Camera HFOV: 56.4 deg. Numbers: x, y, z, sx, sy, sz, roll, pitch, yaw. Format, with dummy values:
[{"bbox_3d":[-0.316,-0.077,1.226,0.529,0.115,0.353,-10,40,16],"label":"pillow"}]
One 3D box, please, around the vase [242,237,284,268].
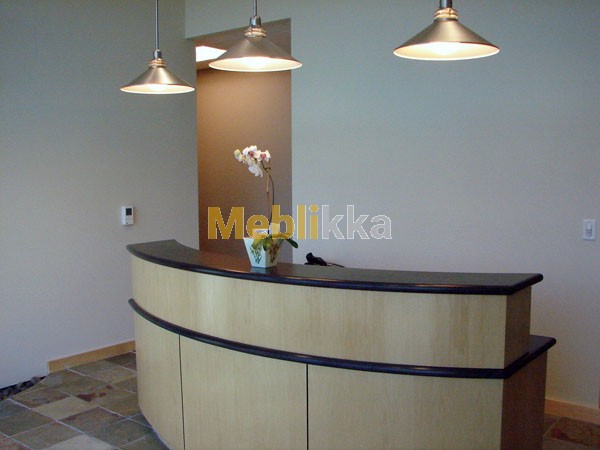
[{"bbox_3d":[-0.247,0.186,3.850,0.200,0.198,0.233,1,1,-42],"label":"vase"}]
